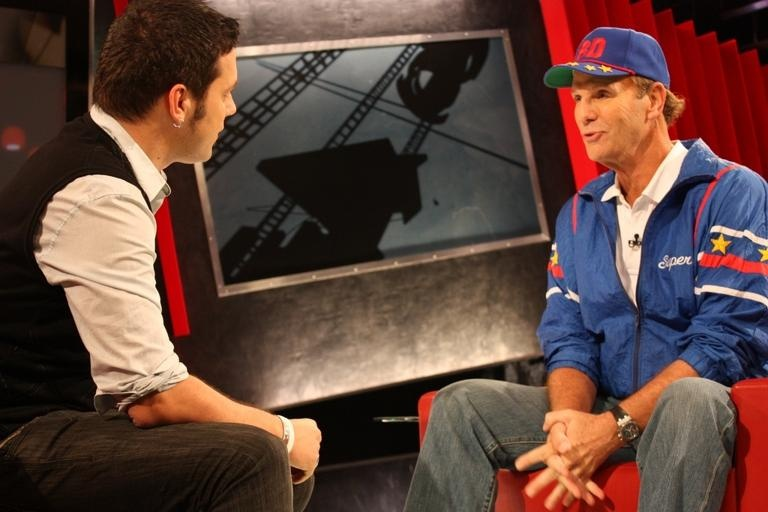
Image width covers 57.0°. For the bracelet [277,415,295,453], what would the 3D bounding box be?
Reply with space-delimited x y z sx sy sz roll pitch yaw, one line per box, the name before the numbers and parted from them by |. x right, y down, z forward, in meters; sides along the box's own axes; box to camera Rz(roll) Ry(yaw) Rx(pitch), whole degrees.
bracelet | -0.281 0.523 2.073 0.068 0.089 0.089 8 -34 -17

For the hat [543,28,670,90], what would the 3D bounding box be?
hat | 0.834 -0.723 2.593 0.438 0.212 0.309 4 5 -24
